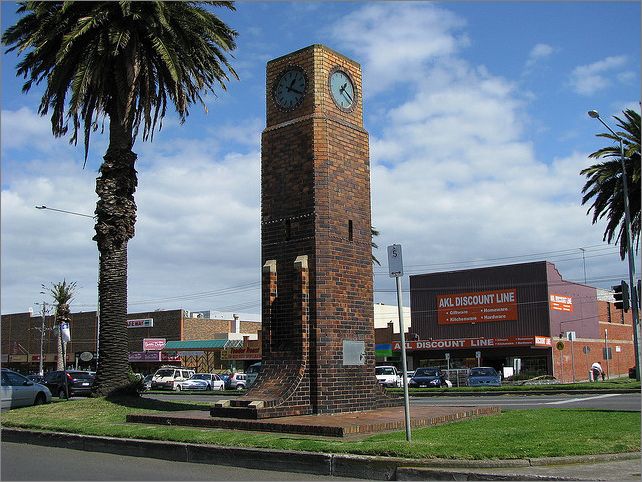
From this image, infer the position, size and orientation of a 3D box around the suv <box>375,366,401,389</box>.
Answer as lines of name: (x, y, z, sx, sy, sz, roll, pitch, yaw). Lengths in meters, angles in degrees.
suv: (4.838, 9.659, 47.061, 1.700, 1.533, 3.153, -3, -13, 6)

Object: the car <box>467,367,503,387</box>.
car: (10.420, 8.760, 42.794, 1.963, 1.146, 2.356, -4, -13, 11)

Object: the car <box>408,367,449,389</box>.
car: (6.907, 9.107, 44.105, 1.930, 1.254, 2.034, -7, -14, 25)

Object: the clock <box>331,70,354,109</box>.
clock: (0.715, -5.276, 23.295, 0.238, 1.381, 1.572, -6, -7, 34)

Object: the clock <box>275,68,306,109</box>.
clock: (-1.020, -5.246, 23.105, 1.750, 1.562, 0.200, -1, -3, 43)
